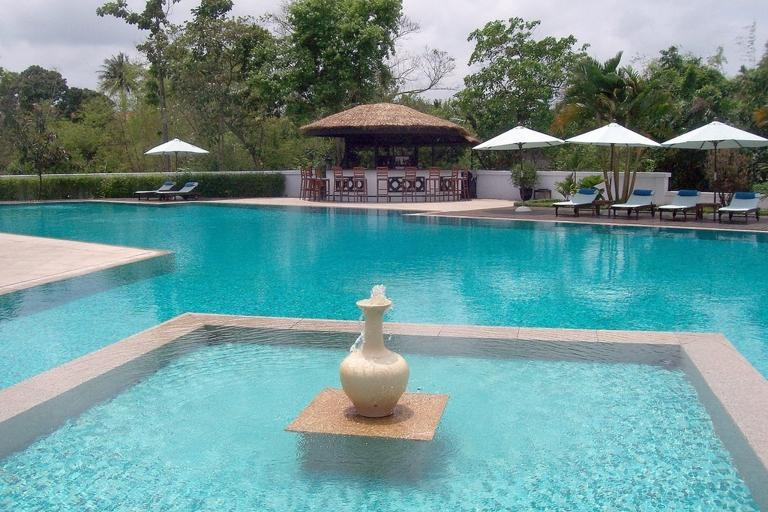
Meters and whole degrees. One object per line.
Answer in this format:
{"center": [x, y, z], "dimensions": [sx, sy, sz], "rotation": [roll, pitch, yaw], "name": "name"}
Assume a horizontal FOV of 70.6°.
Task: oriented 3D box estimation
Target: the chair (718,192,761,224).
{"center": [11.939, -1.580, 18.185], "dimensions": [1.073, 1.079, 1.917], "rotation": [4, 9, 42], "name": "chair"}

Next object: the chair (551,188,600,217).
{"center": [7.756, -2.084, 21.129], "dimensions": [2.069, 1.119, 1.203], "rotation": [-4, 5, -38], "name": "chair"}

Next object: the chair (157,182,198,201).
{"center": [-11.689, -3.737, 31.027], "dimensions": [2.140, 1.030, 1.227], "rotation": [-1, 3, -45], "name": "chair"}

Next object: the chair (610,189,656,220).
{"center": [9.417, -1.907, 20.201], "dimensions": [1.178, 1.102, 2.201], "rotation": [4, 6, 42], "name": "chair"}

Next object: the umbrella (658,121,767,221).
{"center": [12.127, -3.388, 19.855], "dimensions": [3.880, 2.795, 3.912], "rotation": [-12, 13, -42], "name": "umbrella"}

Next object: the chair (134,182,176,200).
{"center": [-13.047, -3.847, 31.552], "dimensions": [1.220, 1.188, 2.284], "rotation": [1, 1, 32], "name": "chair"}

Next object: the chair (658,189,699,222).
{"center": [10.558, -1.788, 19.611], "dimensions": [1.211, 1.280, 2.226], "rotation": [4, 7, 44], "name": "chair"}

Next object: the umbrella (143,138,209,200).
{"center": [-12.347, -5.188, 32.271], "dimensions": [2.302, 3.494, 5.016], "rotation": [-5, 11, -19], "name": "umbrella"}
